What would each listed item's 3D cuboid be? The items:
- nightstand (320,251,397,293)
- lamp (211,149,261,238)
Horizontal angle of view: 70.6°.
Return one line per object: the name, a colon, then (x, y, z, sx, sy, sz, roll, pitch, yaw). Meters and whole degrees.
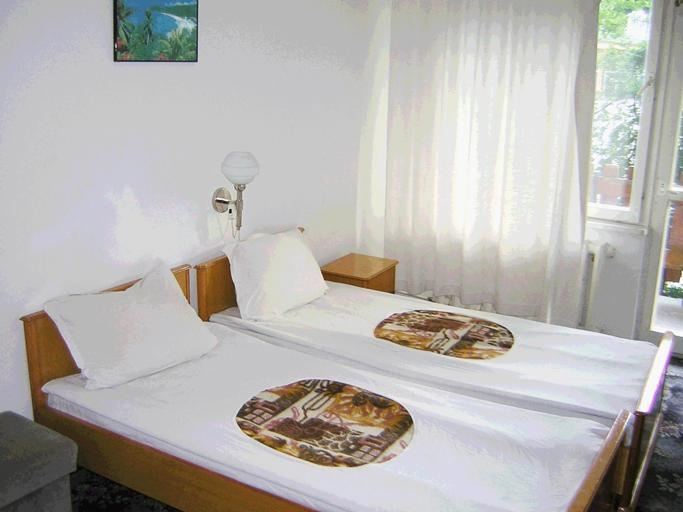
nightstand: (0.113, 0.105, 3.792, 0.419, 0.394, 0.354, 19, 31, 37)
lamp: (-0.610, -0.380, 3.079, 0.257, 0.573, 0.344, 5, 17, 23)
